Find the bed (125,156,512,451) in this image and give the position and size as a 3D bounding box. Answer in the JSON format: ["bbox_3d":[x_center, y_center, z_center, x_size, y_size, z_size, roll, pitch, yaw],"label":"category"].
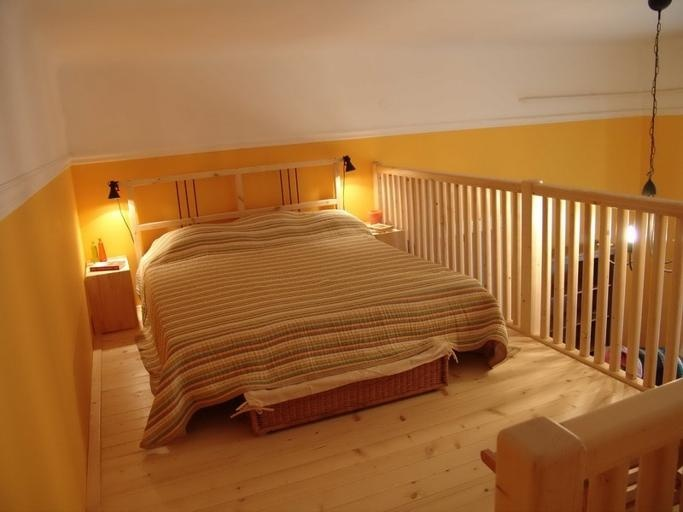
[{"bbox_3d":[-0.386,0.241,3.671,2.088,0.690,2.287,-10,19,-19],"label":"bed"}]

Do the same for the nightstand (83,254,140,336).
[{"bbox_3d":[-1.919,0.291,4.330,0.379,0.503,0.592,-11,21,-27],"label":"nightstand"}]

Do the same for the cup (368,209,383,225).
[{"bbox_3d":[0.348,-0.399,5.269,0.136,0.137,0.133,0,13,0],"label":"cup"}]
